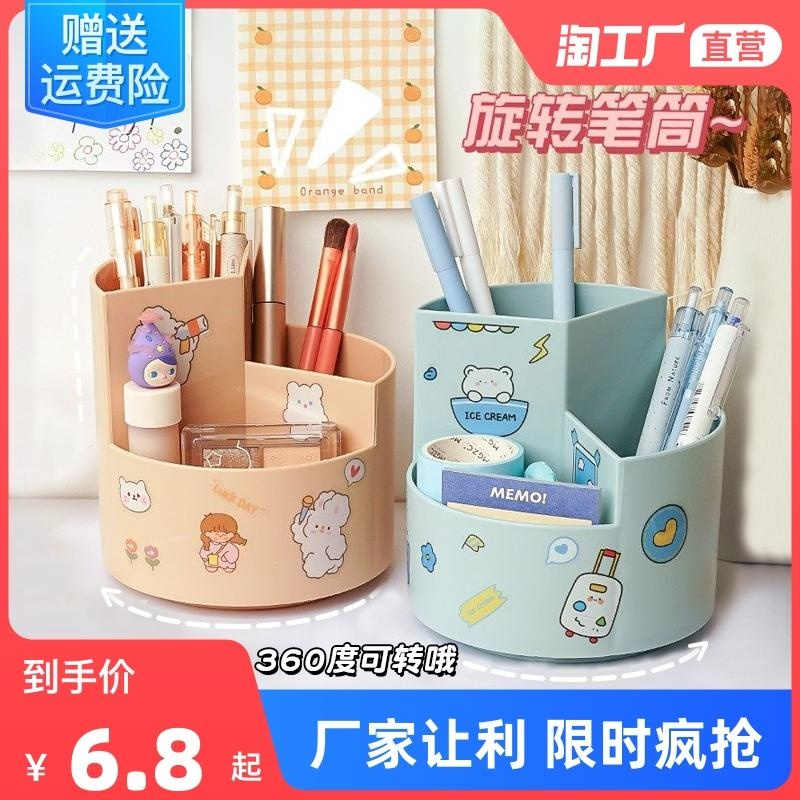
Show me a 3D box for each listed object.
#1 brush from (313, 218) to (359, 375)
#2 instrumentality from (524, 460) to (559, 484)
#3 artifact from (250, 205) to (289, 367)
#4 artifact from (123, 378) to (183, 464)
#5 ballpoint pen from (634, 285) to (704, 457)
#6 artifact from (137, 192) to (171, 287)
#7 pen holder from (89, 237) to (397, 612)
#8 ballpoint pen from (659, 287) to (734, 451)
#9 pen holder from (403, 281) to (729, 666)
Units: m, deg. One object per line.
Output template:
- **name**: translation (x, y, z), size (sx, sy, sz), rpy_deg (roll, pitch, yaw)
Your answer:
- **brush**: translation (-0.055, -0.088, 0.811), size (0.027, 0.205, 0.028), rpy_deg (11, -4, -1)
- **instrumentality**: translation (0.109, 0.057, 0.614), size (0.020, 0.017, 0.017), rpy_deg (-7, 11, 34)
- **artifact**: translation (-0.135, -0.105, 0.811), size (0.047, 0.177, 0.051), rpy_deg (2, 7, -4)
- **artifact**: translation (-0.217, 0.025, 0.698), size (0.049, 0.086, 0.052), rpy_deg (4, 16, -2)
- **ballpoint pen**: translation (0.230, -0.021, 0.678), size (0.021, 0.153, 0.019), rpy_deg (16, 4, 9)
- **artifact**: translation (-0.236, -0.139, 0.762), size (0.026, 0.115, 0.028), rpy_deg (-4, -5, -6)
- **pen holder**: translation (-0.143, 0.017, 0.730), size (0.227, 0.274, 0.238), rpy_deg (11, 17, 43)
- **ballpoint pen**: translation (0.250, -0.022, 0.665), size (0.016, 0.153, 0.018), rpy_deg (23, -8, 24)
- **pen holder**: translation (0.132, 0.032, 0.688), size (0.264, 0.290, 0.256), rpy_deg (-8, 16, -27)
